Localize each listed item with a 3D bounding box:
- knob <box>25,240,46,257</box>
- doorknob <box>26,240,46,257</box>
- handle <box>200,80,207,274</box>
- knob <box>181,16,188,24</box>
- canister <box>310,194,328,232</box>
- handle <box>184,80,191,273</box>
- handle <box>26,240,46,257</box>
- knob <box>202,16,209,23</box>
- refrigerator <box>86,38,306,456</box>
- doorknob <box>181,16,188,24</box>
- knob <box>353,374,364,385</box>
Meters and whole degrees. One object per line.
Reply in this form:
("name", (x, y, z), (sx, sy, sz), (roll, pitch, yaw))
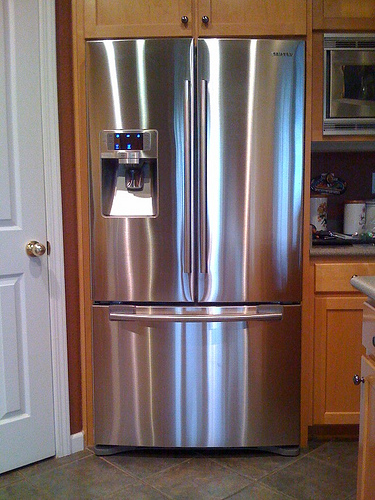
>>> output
("knob", (-0.593, -0.002, 1.978), (0.066, 0.066, 0.047), (2, 6, 23))
("doorknob", (-0.588, -0.003, 1.973), (0.058, 0.073, 0.050), (5, 1, -44))
("handle", (0.062, -0.271, 1.960), (0.026, 0.738, 0.030), (0, 5, 2))
("knob", (-0.012, -0.879, 1.942), (0.027, 0.026, 0.020), (0, 5, 0))
("canister", (0.677, -0.185, 2.649), (0.105, 0.214, 0.112), (-6, 15, 2))
("handle", (0.000, -0.275, 1.964), (0.031, 0.735, 0.023), (-1, 5, -1))
("handle", (-0.593, -0.002, 1.965), (0.049, 0.076, 0.061), (5, -6, 44))
("knob", (0.069, -0.883, 1.947), (0.027, 0.026, 0.019), (-1, 5, -3))
("refrigerator", (0.044, -0.033, 2.258), (0.811, 1.829, 0.575), (-1, 18, 1))
("doorknob", (-0.012, -0.876, 1.936), (0.017, 0.028, 0.024), (2, 7, 6))
("knob", (0.429, 0.334, 1.286), (0.032, 0.029, 0.010), (0, -4, -17))
